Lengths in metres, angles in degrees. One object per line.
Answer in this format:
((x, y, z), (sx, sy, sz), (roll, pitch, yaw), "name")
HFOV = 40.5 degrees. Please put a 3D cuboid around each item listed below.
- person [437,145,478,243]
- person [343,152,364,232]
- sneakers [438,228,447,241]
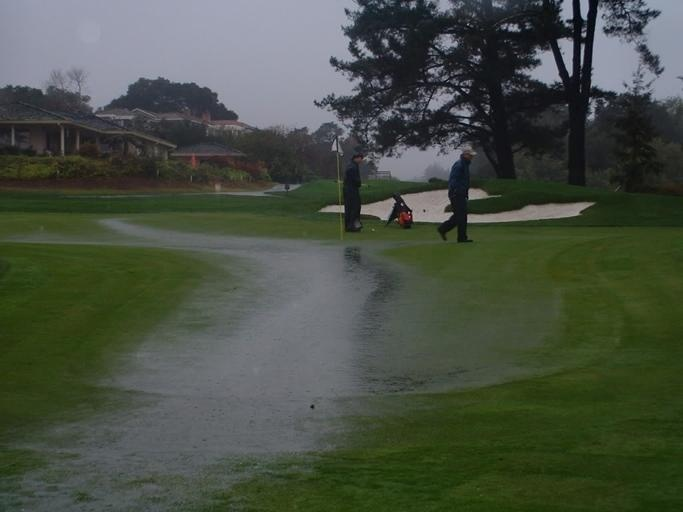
((2.444, -1.260, 19.905), (0.725, 1.944, 1.086), (0, 6, 6), "person")
((0.261, -1.529, 22.713), (0.441, 1.949, 0.807), (-1, 6, 1), "person")
((2.228, -0.440, 20.389), (0.147, 0.378, 0.123), (-15, 28, -5), "sneakers")
